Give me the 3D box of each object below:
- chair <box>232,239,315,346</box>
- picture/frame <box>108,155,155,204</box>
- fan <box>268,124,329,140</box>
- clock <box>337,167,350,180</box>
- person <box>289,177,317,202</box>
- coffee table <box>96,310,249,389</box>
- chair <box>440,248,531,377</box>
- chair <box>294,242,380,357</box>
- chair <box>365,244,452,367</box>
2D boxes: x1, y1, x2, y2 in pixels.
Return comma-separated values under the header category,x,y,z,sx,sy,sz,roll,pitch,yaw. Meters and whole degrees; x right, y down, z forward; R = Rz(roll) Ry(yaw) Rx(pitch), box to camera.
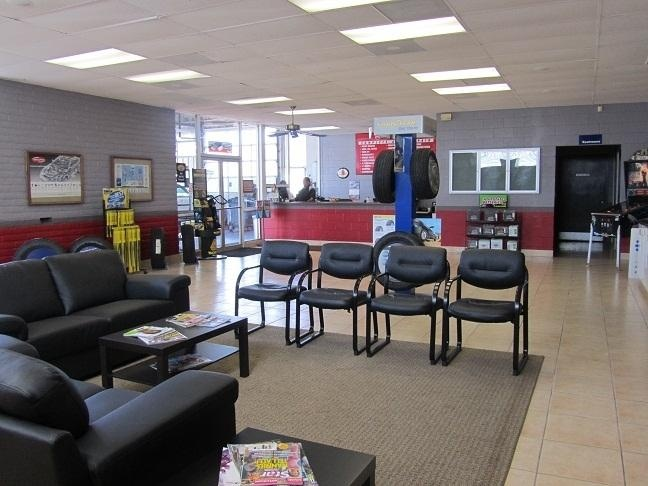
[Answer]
category,x,y,z,sx,sy,sz,roll,pitch,yaw
chair,-0.562,0.517,5.291,0.788,0.983,0.664,2,7,23
picture/frame,-3.586,-1.183,8.878,0.092,0.806,0.954,6,10,26
fan,-0.705,-2.945,12.385,1.107,0.165,1.069,5,9,31
clock,0.585,-2.168,14.571,0.380,0.334,0.085,12,11,27
person,-0.501,-1.400,12.276,0.559,0.599,0.805,-1,10,1
coffee table,-1.236,0.956,4.091,0.717,0.471,1.081,3,5,20
chair,1.548,0.603,4.575,0.852,0.978,0.714,-1,13,14
chair,0.133,0.547,5.077,0.848,0.996,0.799,6,10,42
chair,0.862,0.577,4.806,0.809,0.989,0.739,4,10,36
